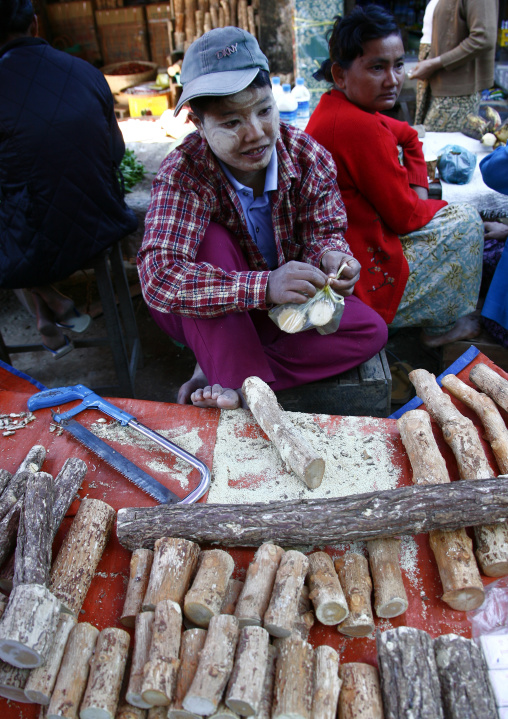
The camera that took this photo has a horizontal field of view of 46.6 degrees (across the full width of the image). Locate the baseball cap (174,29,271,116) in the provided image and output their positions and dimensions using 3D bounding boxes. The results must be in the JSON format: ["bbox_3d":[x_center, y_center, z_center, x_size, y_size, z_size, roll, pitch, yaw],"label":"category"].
[{"bbox_3d":[-0.076,-0.998,2.061,0.327,0.173,0.241,-39,26,-22],"label":"baseball cap"}]

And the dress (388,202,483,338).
[{"bbox_3d":[0.977,-0.457,3.089,0.495,0.625,0.305,15,24,22],"label":"dress"}]

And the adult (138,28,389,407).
[{"bbox_3d":[-0.033,-0.576,2.465,1.033,1.380,1.084,18,37,36],"label":"adult"}]

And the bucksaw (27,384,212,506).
[{"bbox_3d":[-0.560,0.282,2.226,0.998,0.088,0.305,25,39,33],"label":"bucksaw"}]
